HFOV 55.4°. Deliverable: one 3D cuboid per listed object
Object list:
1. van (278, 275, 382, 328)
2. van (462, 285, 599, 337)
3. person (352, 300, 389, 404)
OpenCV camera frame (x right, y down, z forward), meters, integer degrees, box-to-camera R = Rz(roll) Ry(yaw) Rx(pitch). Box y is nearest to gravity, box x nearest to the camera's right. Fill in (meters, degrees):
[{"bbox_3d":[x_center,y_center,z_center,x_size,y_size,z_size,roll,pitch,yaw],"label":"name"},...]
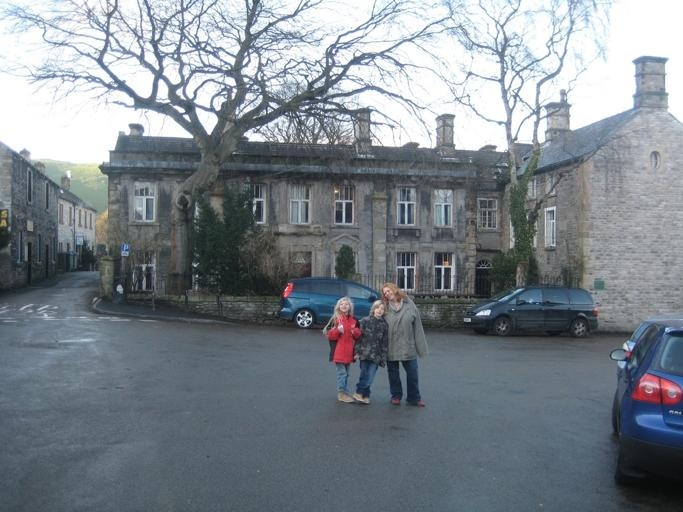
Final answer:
[{"bbox_3d":[-0.621,1.527,23.099,2.811,1.455,1.786,-4,-2,-6],"label":"van"},{"bbox_3d":[6.945,1.961,24.036,3.742,1.820,2.249,3,-7,-5],"label":"van"},{"bbox_3d":[0.513,1.670,11.340,0.593,1.795,0.499,-2,-2,43],"label":"person"}]
